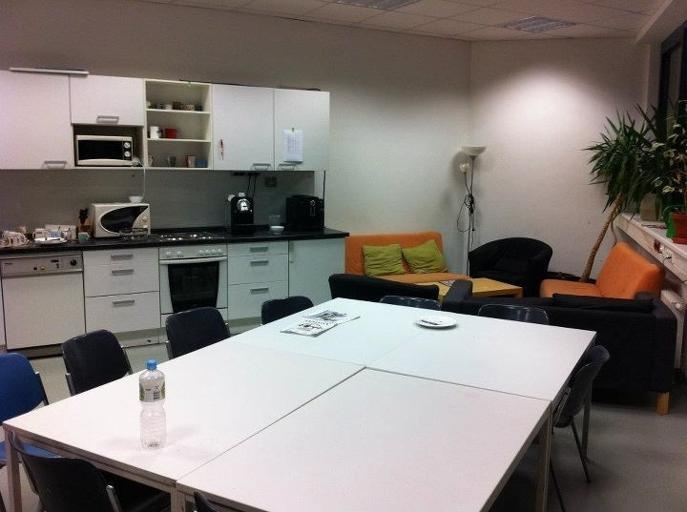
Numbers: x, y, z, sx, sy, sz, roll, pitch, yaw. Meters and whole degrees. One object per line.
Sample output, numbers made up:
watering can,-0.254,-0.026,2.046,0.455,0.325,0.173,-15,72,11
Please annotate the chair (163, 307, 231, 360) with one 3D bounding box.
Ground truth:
chair,-1.010,0.461,3.537,0.303,0.565,0.371,-10,7,-35

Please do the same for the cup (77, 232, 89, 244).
cup,-2.631,-0.187,5.157,0.098,0.116,0.156,-3,-7,34

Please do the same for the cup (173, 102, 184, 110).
cup,-1.820,-1.643,5.578,0.084,0.090,0.121,3,3,36

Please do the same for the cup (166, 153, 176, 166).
cup,-1.908,-1.068,5.617,0.096,0.127,0.121,0,-1,17

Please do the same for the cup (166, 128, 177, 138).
cup,-1.889,-1.341,5.562,0.104,0.085,0.106,0,2,0

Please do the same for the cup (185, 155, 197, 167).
cup,-1.685,-1.058,5.645,0.092,0.158,0.150,0,2,2

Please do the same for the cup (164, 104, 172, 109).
cup,-1.894,-1.613,5.479,0.052,0.041,0.052,1,6,0

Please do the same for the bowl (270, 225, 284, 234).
bowl,-0.793,-0.324,6.037,0.112,0.059,0.117,0,5,0

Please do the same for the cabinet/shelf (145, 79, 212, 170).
cabinet/shelf,-1.819,-1.430,5.587,0.696,0.928,0.443,-5,10,-20

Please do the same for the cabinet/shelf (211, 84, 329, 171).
cabinet/shelf,-0.884,-1.461,5.750,0.953,0.635,0.292,-2,12,-20

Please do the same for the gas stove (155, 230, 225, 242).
gas stove,-1.708,-0.221,5.651,0.651,0.066,0.662,-6,10,-23

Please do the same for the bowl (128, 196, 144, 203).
bowl,-2.258,-0.621,5.531,0.147,0.083,0.347,-5,10,-22

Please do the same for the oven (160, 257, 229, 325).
oven,-1.639,0.363,5.673,0.611,0.921,0.579,-2,1,-30

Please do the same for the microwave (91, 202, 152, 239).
microwave,-2.304,-0.380,5.270,0.528,0.362,0.355,-4,9,-34

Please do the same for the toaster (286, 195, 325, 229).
toaster,-0.478,-0.562,6.333,0.392,0.433,0.408,-3,15,-24
